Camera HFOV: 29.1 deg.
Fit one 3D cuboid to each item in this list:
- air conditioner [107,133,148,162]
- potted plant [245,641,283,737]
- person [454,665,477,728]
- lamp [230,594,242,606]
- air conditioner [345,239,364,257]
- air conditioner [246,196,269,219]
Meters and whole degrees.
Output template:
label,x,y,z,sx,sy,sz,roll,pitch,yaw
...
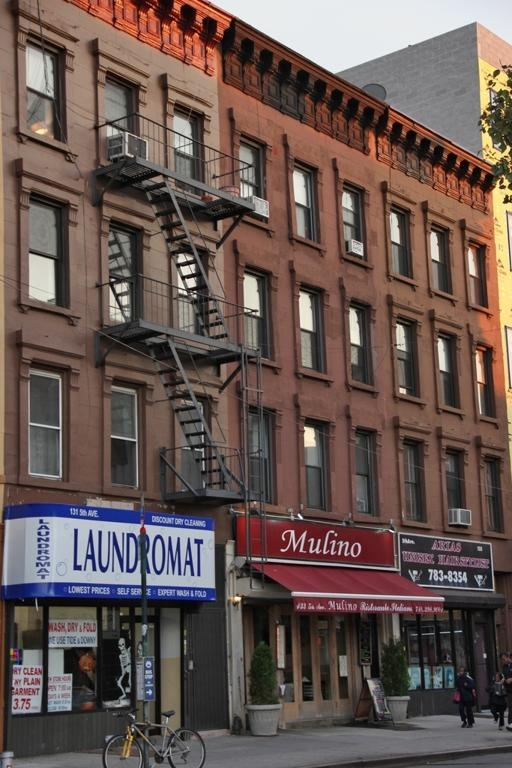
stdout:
label,x,y,z,sx,sy,sz,roll,pitch,yaw
air conditioner,-2.313,-4.189,17.600,0.363,0.493,0.698,-3,-3,32
potted plant,0.117,5.689,18.329,0.634,1.664,0.807,-3,-17,-1
person,4.527,6.786,21.341,0.409,1.255,1.378,-6,-19,10
lamp,-0.363,4.200,19.042,0.131,0.179,0.486,-8,-20,14
air conditioner,2.489,-3.355,24.505,0.333,0.429,0.607,-14,-17,32
air conditioner,0.022,-3.727,20.970,0.175,0.478,0.517,-10,-12,30
